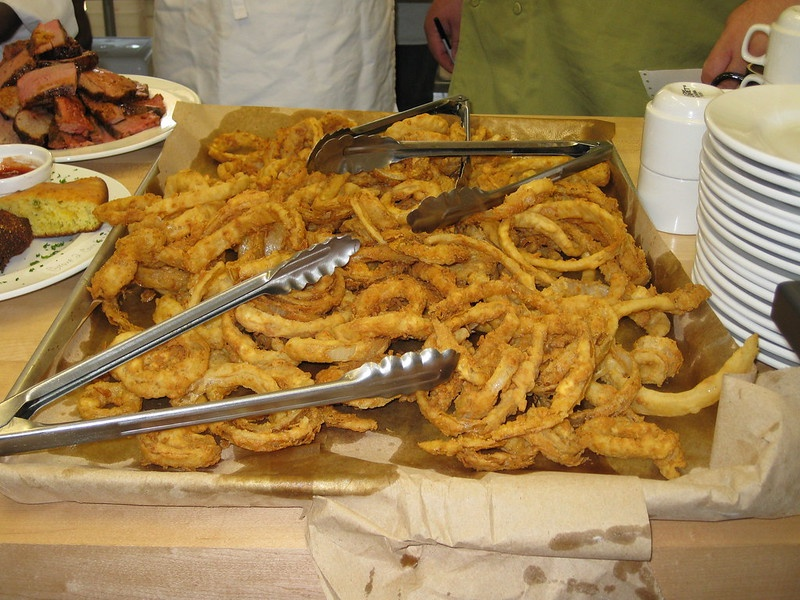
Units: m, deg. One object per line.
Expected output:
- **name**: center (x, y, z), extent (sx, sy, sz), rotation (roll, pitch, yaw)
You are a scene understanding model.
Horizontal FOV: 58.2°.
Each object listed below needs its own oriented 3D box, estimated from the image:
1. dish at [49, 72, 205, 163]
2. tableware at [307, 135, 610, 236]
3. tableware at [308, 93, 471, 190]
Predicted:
- **dish**: center (-1.191, -0.814, 3.366), extent (0.627, 0.084, 0.619), rotation (20, 38, 28)
- **tableware**: center (0.285, -0.467, 2.681), extent (0.888, 0.154, 0.452), rotation (-19, 62, -10)
- **tableware**: center (-0.009, -0.689, 2.861), extent (0.637, 0.162, 0.336), rotation (-14, 57, -6)
